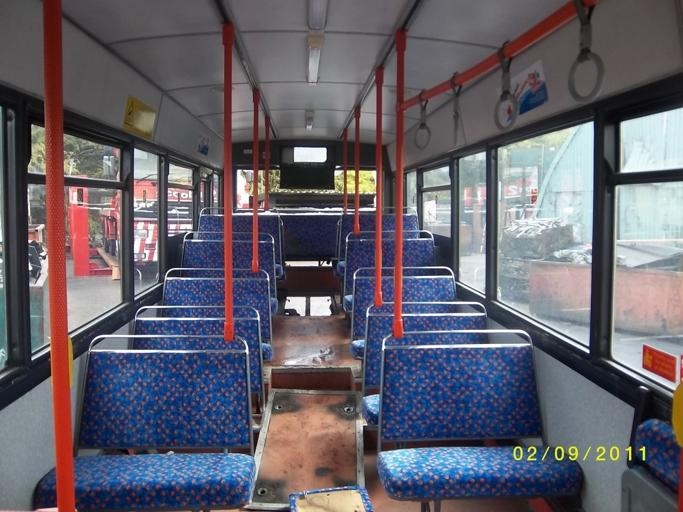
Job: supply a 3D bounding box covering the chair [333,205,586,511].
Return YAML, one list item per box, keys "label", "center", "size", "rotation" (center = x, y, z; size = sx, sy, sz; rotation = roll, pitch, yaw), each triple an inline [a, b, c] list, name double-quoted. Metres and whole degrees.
- label: "chair"
  center: [0.800, 0.612, 3.712]
  size: [1.605, 1.284, 1.273]
  rotation: [0, 3, -8]

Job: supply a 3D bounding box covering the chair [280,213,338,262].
- label: "chair"
  center: [-0.555, -0.324, 9.464]
  size: [1.208, 0.991, 0.706]
  rotation: [0, -3, -2]
